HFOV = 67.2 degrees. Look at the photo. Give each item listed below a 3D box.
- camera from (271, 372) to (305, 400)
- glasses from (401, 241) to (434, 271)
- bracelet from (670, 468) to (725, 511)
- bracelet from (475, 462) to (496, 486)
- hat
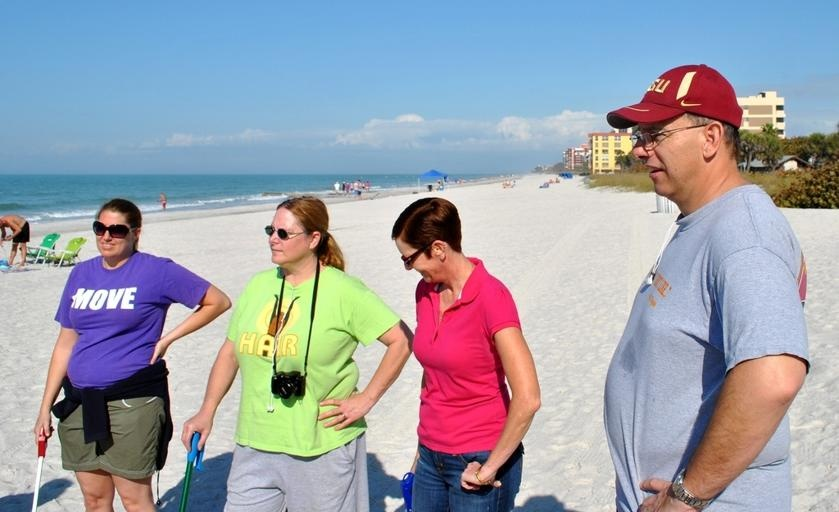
[{"bbox_3d":[-0.836,0.826,4.058,0.255,0.150,0.175,2,1,1],"label":"camera"},{"bbox_3d":[-0.004,-0.010,3.975,0.196,0.053,0.182,-30,-1,-4],"label":"glasses"},{"bbox_3d":[1.319,1.154,3.047,0.173,0.104,0.209,26,10,-21],"label":"bracelet"},{"bbox_3d":[0.375,1.306,3.803,0.135,0.056,0.176,20,-13,-23],"label":"bracelet"},{"bbox_3d":[1.370,-0.875,3.457,0.734,0.306,0.434,-2,12,-7],"label":"hat"}]
